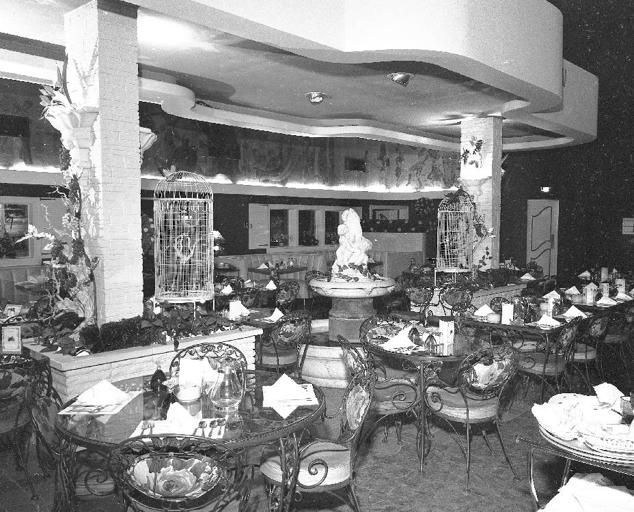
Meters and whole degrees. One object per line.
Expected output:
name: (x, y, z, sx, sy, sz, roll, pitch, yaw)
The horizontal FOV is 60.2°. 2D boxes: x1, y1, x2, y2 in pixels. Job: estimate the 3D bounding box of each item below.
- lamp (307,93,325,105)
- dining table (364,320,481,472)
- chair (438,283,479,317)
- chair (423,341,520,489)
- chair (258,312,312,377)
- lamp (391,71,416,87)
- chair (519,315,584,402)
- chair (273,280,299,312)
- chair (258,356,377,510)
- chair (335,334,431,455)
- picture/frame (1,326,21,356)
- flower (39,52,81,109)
lamp: (-0.001, -2.567, 8.876, 0.211, 0.096, 0.214, 0, 4, 13)
dining table: (0.974, 1.346, 4.998, 1.098, 0.852, 1.066, 18, -16, -29)
chair: (1.861, 0.605, 7.240, 0.342, 0.181, 0.296, 18, 6, 39)
chair: (1.306, 1.219, 4.683, 0.804, 1.110, 1.144, 5, 13, 12)
chair: (-0.406, 0.975, 6.224, 0.525, 0.820, 0.750, 0, 10, -27)
lamp: (1.185, -2.477, 7.547, 0.249, 0.232, 0.077, 1, 27, -7)
chair: (2.328, 1.033, 5.778, 0.661, 0.932, 0.617, 12, 13, 40)
chair: (-0.437, 0.608, 8.495, 0.418, 0.554, 0.200, -3, -16, 8)
chair: (0.001, 1.242, 4.205, 0.962, 1.389, 0.845, 2, -4, -7)
chair: (0.625, 1.175, 4.775, 0.943, 1.388, 0.860, -1, 2, 5)
picture/frame: (-2.529, 0.695, 4.510, 0.159, 0.218, 0.139, -4, 15, -26)
flower: (-2.456, -1.647, 5.186, 0.290, 0.616, 1.212, -4, 15, -26)
